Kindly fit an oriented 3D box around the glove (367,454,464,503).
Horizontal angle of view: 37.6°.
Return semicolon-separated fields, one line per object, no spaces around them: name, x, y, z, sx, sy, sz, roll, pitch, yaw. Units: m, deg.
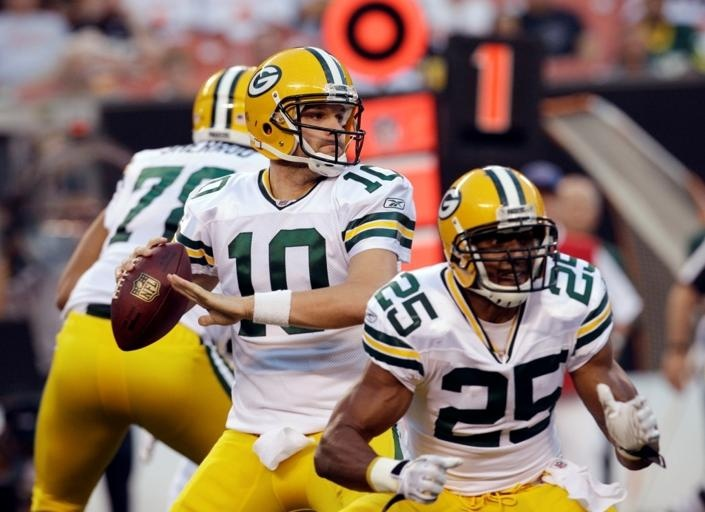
glove;0.253;0.911;4.314;0.321;0.209;0.139;10;-5;21

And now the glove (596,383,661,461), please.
glove;1.179;0.733;4.478;0.118;0.386;0.197;-30;0;34

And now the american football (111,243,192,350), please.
american football;-0.921;0.190;4.924;0.489;0.300;0.342;-49;11;6

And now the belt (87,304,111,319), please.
belt;-1.339;0.289;5.452;0.122;0.097;0.050;3;21;14
